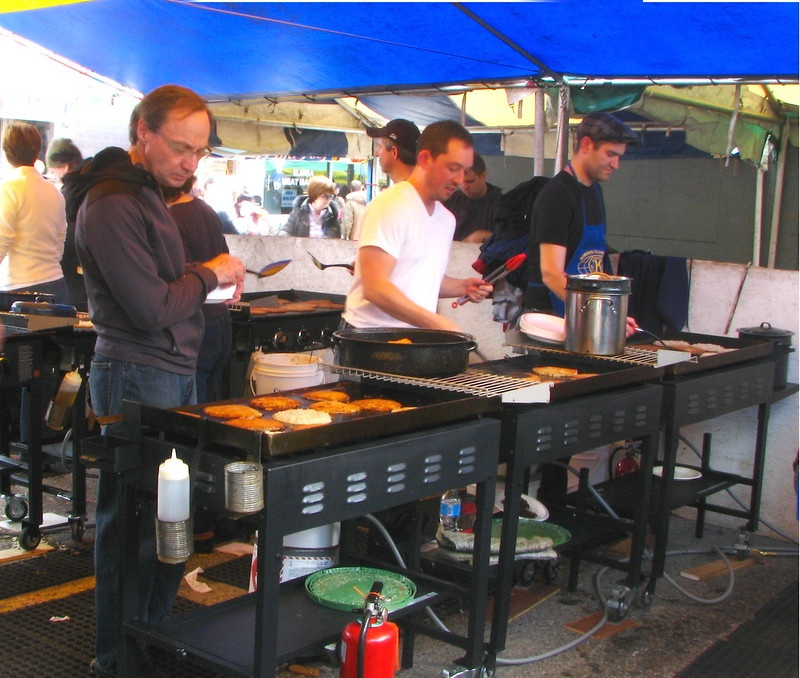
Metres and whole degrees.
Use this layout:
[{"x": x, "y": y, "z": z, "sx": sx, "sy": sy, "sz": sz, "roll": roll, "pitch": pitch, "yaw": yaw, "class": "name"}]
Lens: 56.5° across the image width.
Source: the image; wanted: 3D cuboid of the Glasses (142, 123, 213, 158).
[{"x": -0.739, "y": -0.680, "z": 2.611, "sx": 0.153, "sy": 0.087, "sz": 0.270, "roll": 8, "pitch": 10, "yaw": 27, "class": "Glasses"}]

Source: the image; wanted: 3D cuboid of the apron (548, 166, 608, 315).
[{"x": 1.002, "y": -0.493, "z": 4.092, "sx": 0.129, "sy": 0.675, "sz": 0.248, "roll": 25, "pitch": 22, "yaw": 22, "class": "apron"}]

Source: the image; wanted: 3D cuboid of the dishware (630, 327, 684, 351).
[{"x": 1.414, "y": 0.022, "z": 4.035, "sx": 0.269, "sy": 0.059, "sz": 0.247, "roll": 16, "pitch": 2, "yaw": 18, "class": "dishware"}]

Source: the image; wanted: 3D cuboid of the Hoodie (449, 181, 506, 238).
[{"x": 0.618, "y": -1.007, "z": 5.916, "sx": 0.513, "sy": 0.522, "sz": 0.201, "roll": 6, "pitch": -6, "yaw": 21, "class": "Hoodie"}]

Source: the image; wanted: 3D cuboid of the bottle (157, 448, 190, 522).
[{"x": -0.629, "y": 0.416, "z": 2.086, "sx": 0.083, "sy": 0.180, "sz": 0.101, "roll": 4, "pitch": 10, "yaw": 0, "class": "bottle"}]

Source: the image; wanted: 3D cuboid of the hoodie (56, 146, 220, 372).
[{"x": -0.894, "y": -0.251, "z": 2.611, "sx": 0.490, "sy": 0.819, "sz": 0.359, "roll": 0, "pitch": 11, "yaw": -22, "class": "hoodie"}]

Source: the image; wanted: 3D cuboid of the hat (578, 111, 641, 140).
[{"x": 1.065, "y": -1.085, "z": 3.812, "sx": 0.262, "sy": 0.100, "sz": 0.158, "roll": -1, "pitch": 10, "yaw": 4, "class": "hat"}]

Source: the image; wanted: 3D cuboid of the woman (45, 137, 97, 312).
[{"x": -2.480, "y": -0.901, "z": 5.388, "sx": 0.340, "sy": 0.994, "sz": 0.273, "roll": 3, "pitch": 37, "yaw": -31, "class": "woman"}]

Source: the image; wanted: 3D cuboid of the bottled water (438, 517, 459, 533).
[{"x": 0.225, "y": 0.854, "z": 3.414, "sx": 0.076, "sy": 0.043, "sz": 0.056, "roll": 2, "pitch": 2, "yaw": -2, "class": "bottled water"}]
